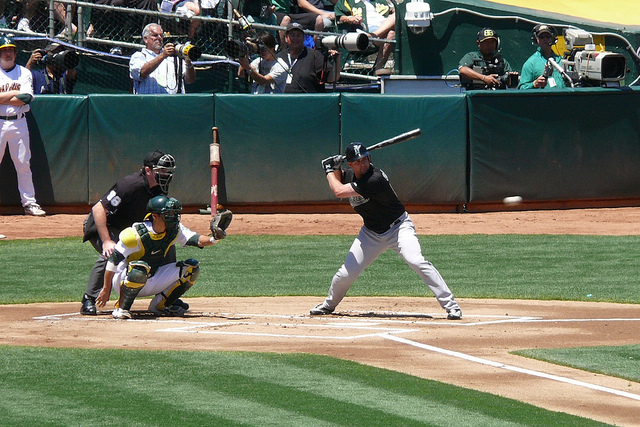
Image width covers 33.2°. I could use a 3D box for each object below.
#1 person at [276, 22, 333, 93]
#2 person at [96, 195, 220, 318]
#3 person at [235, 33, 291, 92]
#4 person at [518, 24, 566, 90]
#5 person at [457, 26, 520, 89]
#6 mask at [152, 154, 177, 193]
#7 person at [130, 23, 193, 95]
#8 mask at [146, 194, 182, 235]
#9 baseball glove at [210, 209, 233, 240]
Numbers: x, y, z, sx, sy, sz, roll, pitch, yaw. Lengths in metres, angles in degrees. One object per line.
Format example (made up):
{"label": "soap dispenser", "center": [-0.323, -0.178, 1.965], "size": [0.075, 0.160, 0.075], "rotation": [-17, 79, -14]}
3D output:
{"label": "person", "center": [-0.331, -3.111, 21.573], "size": [0.996, 1.350, 0.584], "rotation": [-9, 17, -35]}
{"label": "person", "center": [-2.294, 0.598, 14.654], "size": [1.455, 1.769, 0.595], "rotation": [-4, 15, -18]}
{"label": "person", "center": [-1.100, -3.066, 21.493], "size": [1.002, 1.255, 0.830], "rotation": [-12, 41, -42]}
{"label": "person", "center": [4.696, -3.312, 22.606], "size": [0.957, 1.324, 1.358], "rotation": [3, 13, 11]}
{"label": "person", "center": [3.540, -3.211, 22.443], "size": [1.296, 1.288, 1.642], "rotation": [-6, 18, -12]}
{"label": "mask", "center": [-2.174, -0.561, 14.734], "size": [0.352, 0.492, 0.418], "rotation": [11, 7, 13]}
{"label": "person", "center": [-3.131, -3.037, 21.143], "size": [1.172, 1.394, 1.974], "rotation": [-2, 13, -10]}
{"label": "mask", "center": [-2.106, 0.012, 14.479], "size": [0.376, 0.536, 0.454], "rotation": [-12, 18, -41]}
{"label": "baseball glove", "center": [-1.338, 0.148, 14.289], "size": [0.201, 0.376, 0.281], "rotation": [26, 32, -12]}
